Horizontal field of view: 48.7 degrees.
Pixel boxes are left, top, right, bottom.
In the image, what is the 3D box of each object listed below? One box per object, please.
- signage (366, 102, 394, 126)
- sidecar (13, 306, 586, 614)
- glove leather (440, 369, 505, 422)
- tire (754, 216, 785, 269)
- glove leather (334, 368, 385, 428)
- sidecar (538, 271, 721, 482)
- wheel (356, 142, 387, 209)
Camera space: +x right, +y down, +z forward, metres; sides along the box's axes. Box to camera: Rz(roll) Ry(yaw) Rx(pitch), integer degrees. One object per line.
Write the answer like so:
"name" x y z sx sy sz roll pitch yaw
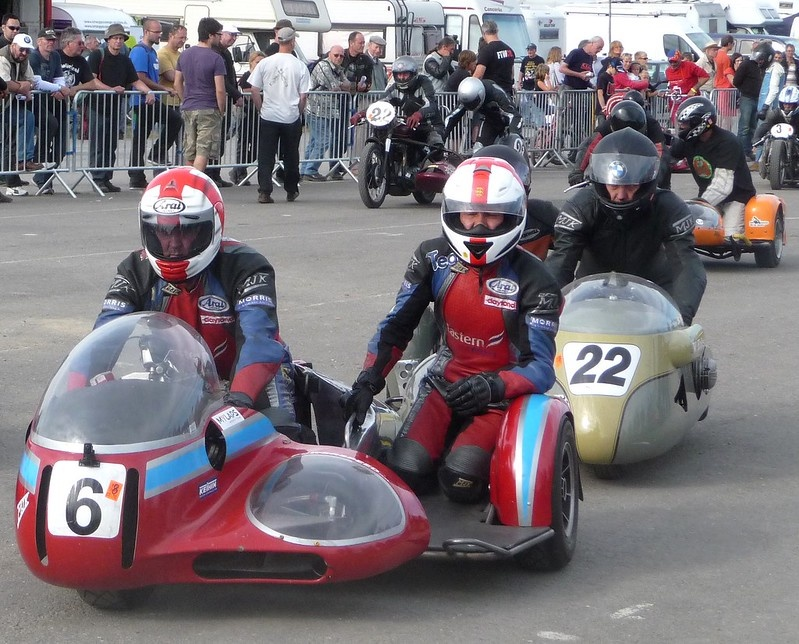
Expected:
"signage" -0.300 -3.320 13.992 0.525 0.563 0.072 -3 -13 4
"sidecar" -0.384 0.531 3.187 1.844 1.020 1.099 -6 15 -30
"glove leather" 0.318 0.290 3.653 0.165 0.098 0.207 -5 17 16
"tire" 4.366 -0.967 10.426 0.155 0.457 0.454 6 -26 28
"glove leather" -0.151 0.295 3.813 0.243 0.231 0.172 -10 19 -44
"sidecar" 1.238 0.244 4.710 0.762 1.076 1.098 6 16 34
"wheel" -0.442 -2.413 14.513 0.244 1.207 1.279 -1 3 13
